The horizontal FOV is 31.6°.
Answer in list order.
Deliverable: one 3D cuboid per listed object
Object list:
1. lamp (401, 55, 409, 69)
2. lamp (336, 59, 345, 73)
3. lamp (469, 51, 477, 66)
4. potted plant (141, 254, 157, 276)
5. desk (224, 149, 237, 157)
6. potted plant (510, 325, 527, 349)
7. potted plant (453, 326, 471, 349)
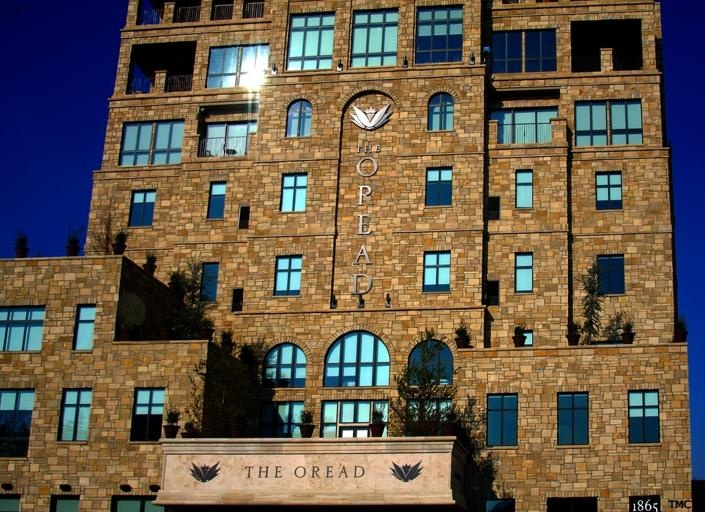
[{"bbox_3d":[3.436,-12.555,81.247,0.374,0.792,0.178,0,-27,0],"label":"lamp"},{"bbox_3d":[-0.772,-12.415,81.673,0.584,1.244,0.628,-1,1,-3],"label":"lamp"},{"bbox_3d":[7.859,-12.737,80.961,0.590,1.260,0.636,1,-16,4],"label":"lamp"},{"bbox_3d":[-12.913,0.646,79.450,1.160,1.892,1.156,2,-3,-18],"label":"potted plant"},{"bbox_3d":[-8.259,-6.963,83.936,0.879,0.342,0.577,4,24,23],"label":"desk"},{"bbox_3d":[9.872,4.931,74.911,1.020,1.641,1.028,10,-11,-35],"label":"potted plant"},{"bbox_3d":[6.692,4.954,74.937,1.050,1.680,1.197,1,-10,-7],"label":"potted plant"}]
